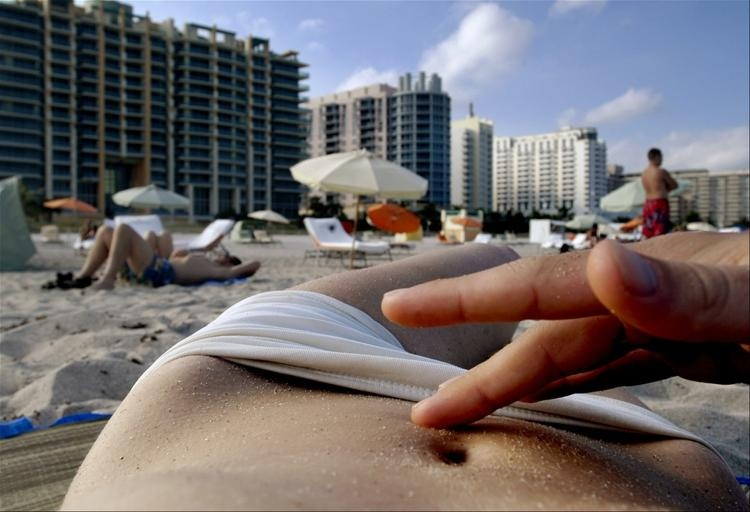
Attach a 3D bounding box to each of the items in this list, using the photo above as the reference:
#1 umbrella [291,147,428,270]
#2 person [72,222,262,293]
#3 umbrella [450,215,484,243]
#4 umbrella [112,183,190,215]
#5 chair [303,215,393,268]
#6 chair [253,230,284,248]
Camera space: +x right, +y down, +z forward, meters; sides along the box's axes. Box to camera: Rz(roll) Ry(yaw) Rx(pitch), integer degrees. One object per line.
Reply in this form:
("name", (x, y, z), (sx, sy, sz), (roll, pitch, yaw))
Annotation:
("umbrella", (-0.266, -0.476, 8.457), (1.448, 1.434, 1.497), (7, 19, -32))
("person", (-1.949, 0.115, 6.487), (0.682, 0.534, 1.668), (-13, -19, 40))
("umbrella", (3.206, -0.962, 23.122), (1.008, 0.789, 0.999), (-1, 4, -13))
("umbrella", (-5.191, -1.305, 15.191), (1.457, 0.693, 3.212), (-2, 10, -22))
("chair", (-0.555, -0.287, 11.301), (1.298, 0.834, 0.895), (0, 1, 38))
("chair", (-3.145, -0.469, 18.564), (0.855, 0.352, 0.592), (-9, -6, 43))
